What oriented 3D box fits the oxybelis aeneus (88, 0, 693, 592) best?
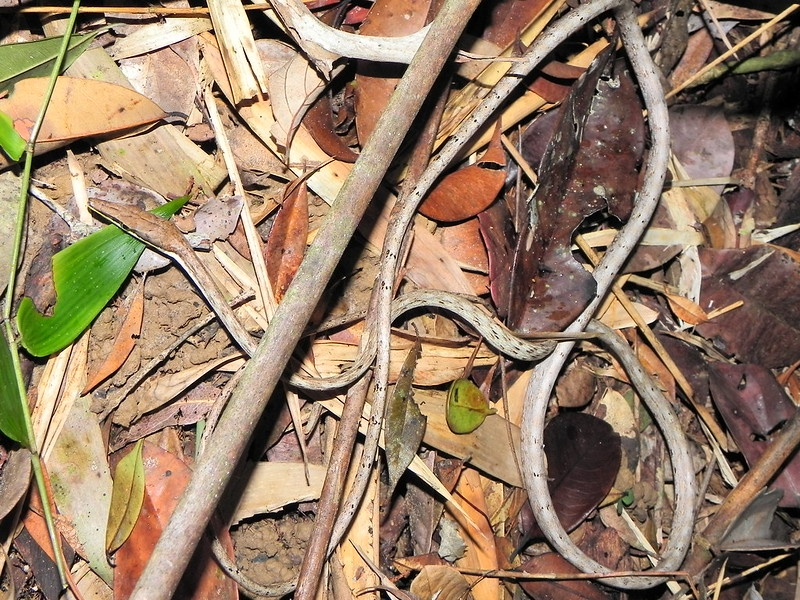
[{"bbox_3d":[0.279,0.098,1.733,0.688,1.432,0.055,23,3,-13],"label":"oxybelis aeneus"}]
